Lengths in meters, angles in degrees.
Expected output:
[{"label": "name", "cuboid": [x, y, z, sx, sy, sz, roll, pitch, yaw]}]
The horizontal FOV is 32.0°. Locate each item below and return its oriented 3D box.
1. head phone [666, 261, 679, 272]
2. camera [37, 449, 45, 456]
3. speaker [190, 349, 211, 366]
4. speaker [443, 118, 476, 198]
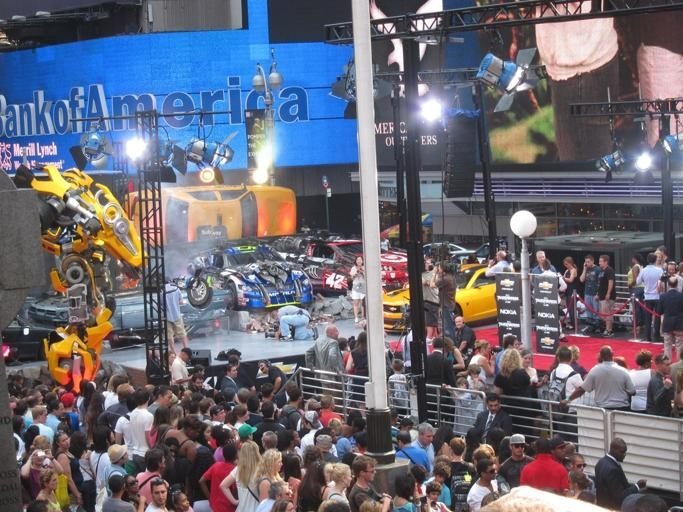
[{"label": "head phone", "cuboid": [8.527, 0.285, 30.724, 0.241, 0.343, 0.336, -1, -1, 13]}, {"label": "camera", "cuboid": [-5.457, 3.626, 21.716, 0.156, 0.113, 0.089, 1, 2, 1]}, {"label": "speaker", "cuboid": [-3.506, 2.578, 29.718, 0.426, 0.187, 0.436, 1, 13, -2]}, {"label": "speaker", "cuboid": [3.008, -2.556, 30.419, 0.844, 2.103, 1.024, -1, 1, 5]}]
